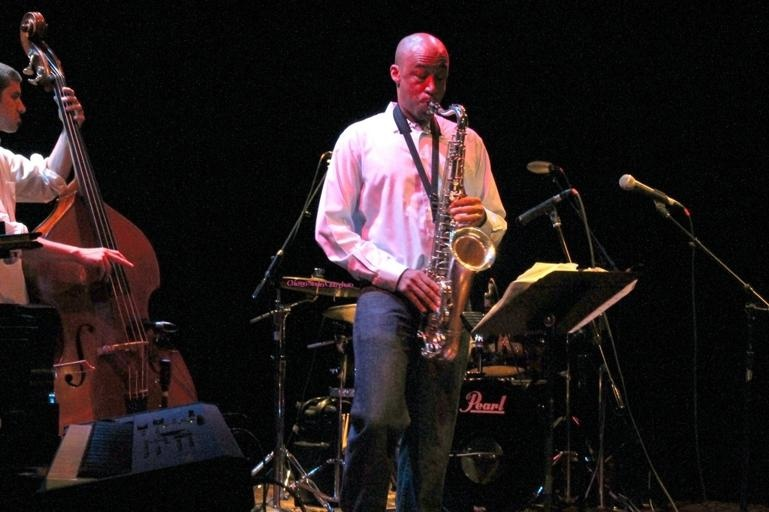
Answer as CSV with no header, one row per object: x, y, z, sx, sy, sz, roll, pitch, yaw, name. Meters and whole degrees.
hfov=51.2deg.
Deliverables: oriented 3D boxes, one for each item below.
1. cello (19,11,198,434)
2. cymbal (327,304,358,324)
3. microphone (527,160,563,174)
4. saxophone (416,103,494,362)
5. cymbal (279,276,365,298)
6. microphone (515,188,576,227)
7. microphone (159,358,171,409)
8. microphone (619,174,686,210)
-1.921,-0.065,5.345,0.987,2.902,0.804,-13,36,-14,cello
-0.326,0.458,6.432,0.247,0.052,0.251,10,-21,-18,cymbal
1.258,-0.684,6.287,0.272,0.098,0.153,5,25,11,microphone
0.452,-0.139,5.141,0.459,1.598,0.484,1,0,4,saxophone
-0.503,0.233,6.123,0.361,0.089,0.276,13,-5,-12,cymbal
1.377,-0.415,6.890,0.594,0.149,0.146,-24,31,-14,microphone
-1.480,0.843,5.387,0.083,0.321,0.139,5,-12,-16,microphone
2.029,-0.450,6.018,0.519,0.118,0.117,22,-5,-9,microphone
